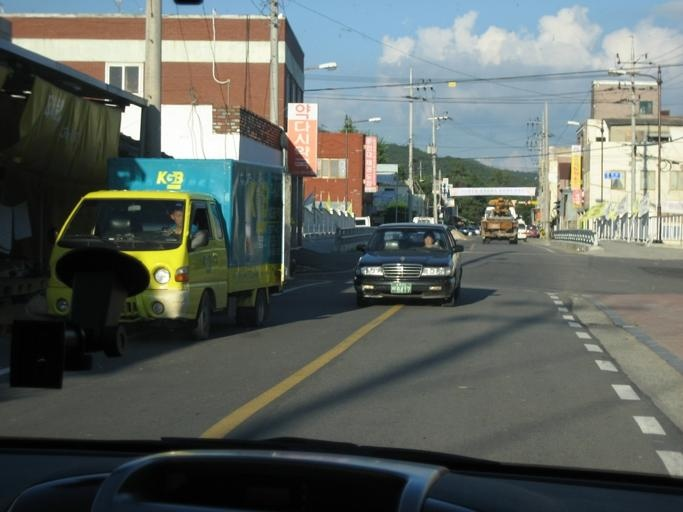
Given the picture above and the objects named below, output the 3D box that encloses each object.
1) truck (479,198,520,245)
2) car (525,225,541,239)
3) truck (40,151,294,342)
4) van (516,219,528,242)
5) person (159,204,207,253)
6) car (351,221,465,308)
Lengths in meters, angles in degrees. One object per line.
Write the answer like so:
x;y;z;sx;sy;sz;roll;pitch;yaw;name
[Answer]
12.046;-2.632;62.220;2.144;2.829;4.517;0;-3;7;truck
24.323;-2.901;103.034;1.878;1.074;3.375;1;3;10;car
-2.717;-0.293;13.372;2.176;2.753;4.825;0;-2;13;truck
15.753;-2.108;70.733;1.475;1.679;2.929;1;10;10;van
-2.281;-0.397;11.926;0.581;0.617;1.002;-1;7;-13;person
1.457;0.260;17.099;2.067;1.589;2.252;1;6;10;car
